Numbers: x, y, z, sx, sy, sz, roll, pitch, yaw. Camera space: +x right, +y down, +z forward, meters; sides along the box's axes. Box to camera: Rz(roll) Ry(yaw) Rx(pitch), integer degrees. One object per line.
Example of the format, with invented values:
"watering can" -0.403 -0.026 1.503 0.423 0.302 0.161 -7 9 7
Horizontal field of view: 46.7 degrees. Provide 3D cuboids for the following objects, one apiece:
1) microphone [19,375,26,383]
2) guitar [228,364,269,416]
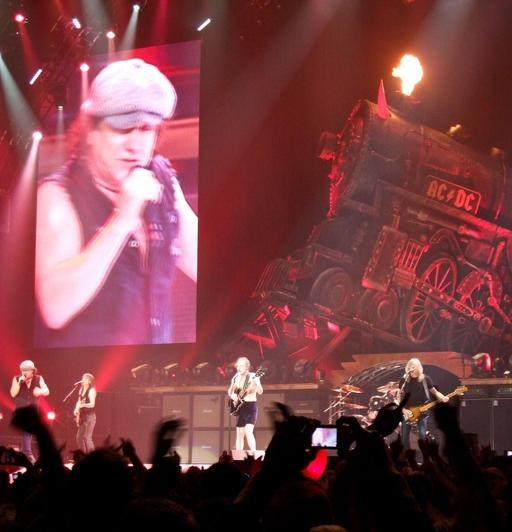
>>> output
"microphone" -3.473 1.678 8.833 0.058 0.099 0.022 4 -13 14
"guitar" -0.113 1.690 8.068 0.087 0.324 0.813 1 -52 -39
